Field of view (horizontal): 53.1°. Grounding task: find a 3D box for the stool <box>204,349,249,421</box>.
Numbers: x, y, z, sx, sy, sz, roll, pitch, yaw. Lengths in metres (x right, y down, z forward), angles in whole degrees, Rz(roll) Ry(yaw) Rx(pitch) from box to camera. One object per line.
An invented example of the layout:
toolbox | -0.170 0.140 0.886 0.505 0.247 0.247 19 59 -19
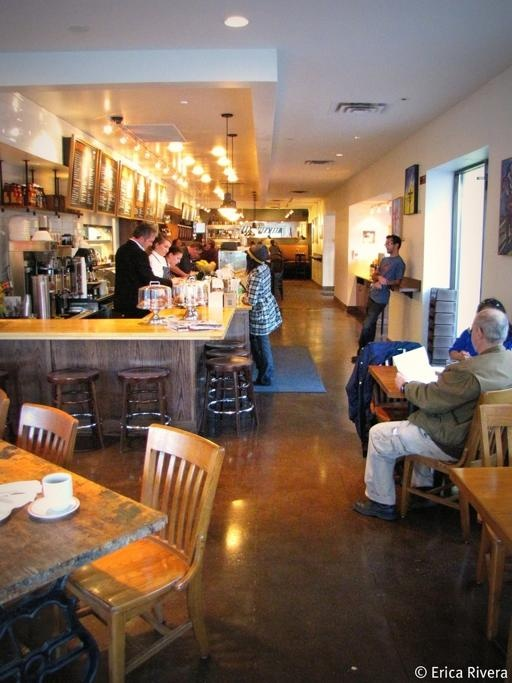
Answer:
stool | -0.274 0.383 4.522 0.412 0.566 0.409 17 33 30

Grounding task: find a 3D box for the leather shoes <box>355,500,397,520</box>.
leather shoes | 0.661 0.929 2.854 0.234 0.098 0.086 8 6 31

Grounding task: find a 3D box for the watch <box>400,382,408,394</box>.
watch | 0.751 0.234 2.606 0.042 0.045 0.054 5 -6 -20

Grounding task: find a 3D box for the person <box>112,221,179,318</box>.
person | -1.252 -0.711 5.199 0.489 0.972 0.443 0 7 -1

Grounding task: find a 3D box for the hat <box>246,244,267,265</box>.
hat | 0.020 -0.949 5.559 0.216 0.209 0.344 0 7 -1

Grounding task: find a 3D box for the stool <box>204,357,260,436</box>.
stool | -0.233 0.498 4.504 0.405 0.600 0.390 10 45 14
